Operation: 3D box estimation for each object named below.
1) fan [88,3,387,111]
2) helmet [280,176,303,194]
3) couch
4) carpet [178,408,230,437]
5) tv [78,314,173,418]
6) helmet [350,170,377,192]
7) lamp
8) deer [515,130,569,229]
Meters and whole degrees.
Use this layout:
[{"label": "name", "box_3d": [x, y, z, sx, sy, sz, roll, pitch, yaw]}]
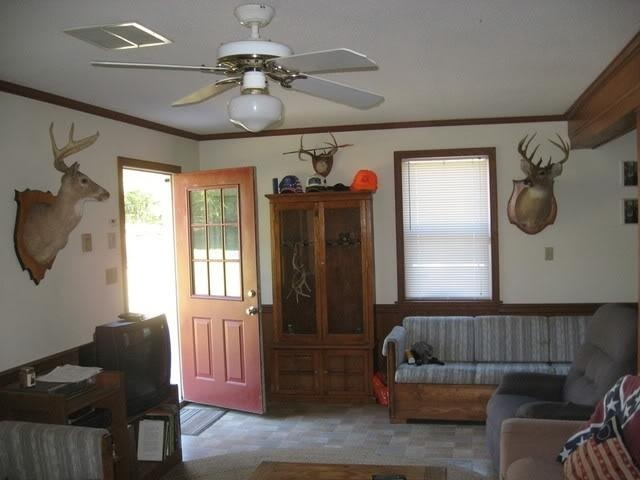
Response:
[{"label": "fan", "box_3d": [-0.209, -0.859, 2.560, 0.866, 0.271, 0.917, 3, -5, -7]}, {"label": "helmet", "box_3d": [-0.367, -0.626, 5.900, 0.248, 0.192, 0.180, -9, -3, 23]}, {"label": "couch", "box_3d": [1.832, 1.285, 5.087, 2.525, 0.935, 0.875, -10, -3, 40]}, {"label": "carpet", "box_3d": [-1.363, 1.929, 5.391, 0.538, 0.587, 0.010, 14, 35, -38]}, {"label": "tv", "box_3d": [-1.739, 1.082, 4.524, 0.682, 0.735, 0.703, 2, 2, 23]}, {"label": "helmet", "box_3d": [0.487, -0.671, 5.799, 0.319, 0.169, 0.225, 3, -2, -44]}, {"label": "lamp", "box_3d": [-0.351, -0.729, 2.653, 0.270, 0.311, 0.274, 2, 13, -2]}, {"label": "deer", "box_3d": [2.464, -0.621, 5.702, 0.658, 1.115, 0.303, -4, 6, -15]}]
